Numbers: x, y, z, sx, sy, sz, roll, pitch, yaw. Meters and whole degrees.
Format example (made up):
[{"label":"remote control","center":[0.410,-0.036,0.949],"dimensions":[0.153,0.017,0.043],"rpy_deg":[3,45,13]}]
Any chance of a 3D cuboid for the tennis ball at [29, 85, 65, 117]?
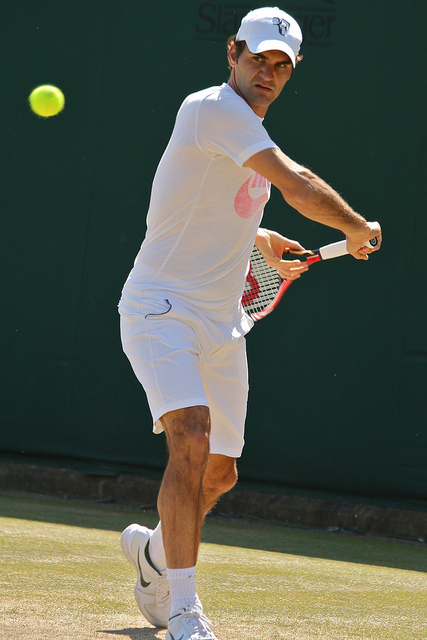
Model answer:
[{"label":"tennis ball","center":[-0.734,-0.950,3.529],"dimensions":[0.134,0.074,0.144],"rpy_deg":[-1,-9,0]}]
